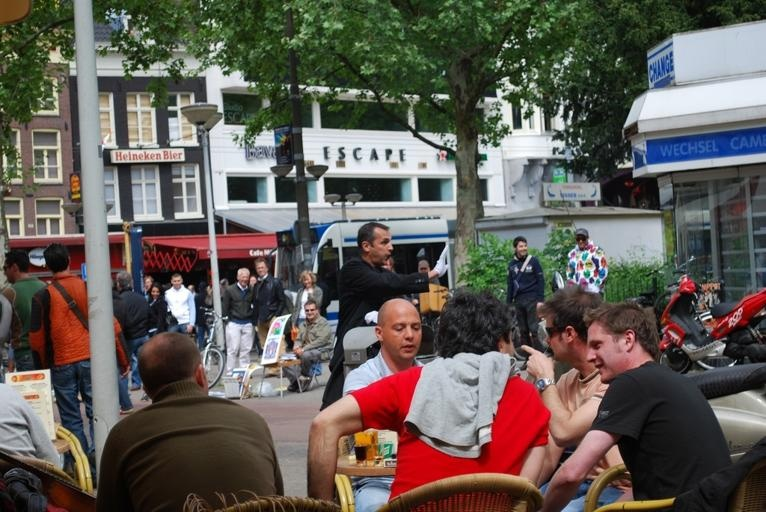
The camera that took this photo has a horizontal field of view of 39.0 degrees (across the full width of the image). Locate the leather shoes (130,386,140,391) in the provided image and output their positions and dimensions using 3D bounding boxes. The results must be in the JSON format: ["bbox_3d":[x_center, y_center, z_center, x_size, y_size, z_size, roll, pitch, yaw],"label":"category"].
[{"bbox_3d":[-5.057,2.695,22.075,0.237,0.088,0.102,-1,19,23],"label":"leather shoes"}]

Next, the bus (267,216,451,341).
[{"bbox_3d":[0.165,0.060,29.575,5.979,3.111,2.343,0,-3,-33],"label":"bus"}]

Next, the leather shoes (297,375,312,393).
[{"bbox_3d":[-1.529,2.502,21.197,0.177,0.142,0.422,25,35,-1],"label":"leather shoes"}]

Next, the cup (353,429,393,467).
[{"bbox_3d":[-0.095,2.118,11.988,0.426,0.304,0.391,1,-6,0],"label":"cup"}]

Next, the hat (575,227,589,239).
[{"bbox_3d":[4.062,-0.446,21.988,0.197,0.160,0.311,-9,-18,20],"label":"hat"}]

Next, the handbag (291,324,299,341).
[{"bbox_3d":[-1.872,1.642,23.074,0.168,0.211,0.400,-31,8,2],"label":"handbag"}]
